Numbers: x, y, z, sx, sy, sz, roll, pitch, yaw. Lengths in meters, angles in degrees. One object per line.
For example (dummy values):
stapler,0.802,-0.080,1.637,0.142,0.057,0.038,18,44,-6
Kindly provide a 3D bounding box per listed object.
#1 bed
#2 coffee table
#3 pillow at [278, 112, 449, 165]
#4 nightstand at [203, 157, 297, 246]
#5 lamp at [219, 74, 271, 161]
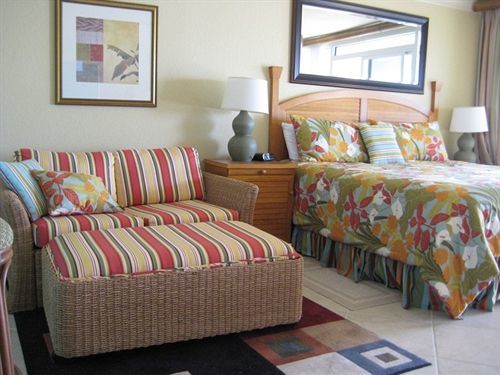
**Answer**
bed,1.063,-0.036,3.456,2.495,2.051,0.858,-4,8,-25
coffee table,-0.481,0.536,2.544,1.616,0.493,0.864,1,9,-35
pillow,1.240,-0.508,4.260,1.772,0.443,0.383,-3,14,-21
nightstand,0.092,0.076,3.937,0.850,1.024,0.757,-3,6,-27
lamp,-0.050,-0.621,3.700,0.423,0.764,0.257,1,14,-3
